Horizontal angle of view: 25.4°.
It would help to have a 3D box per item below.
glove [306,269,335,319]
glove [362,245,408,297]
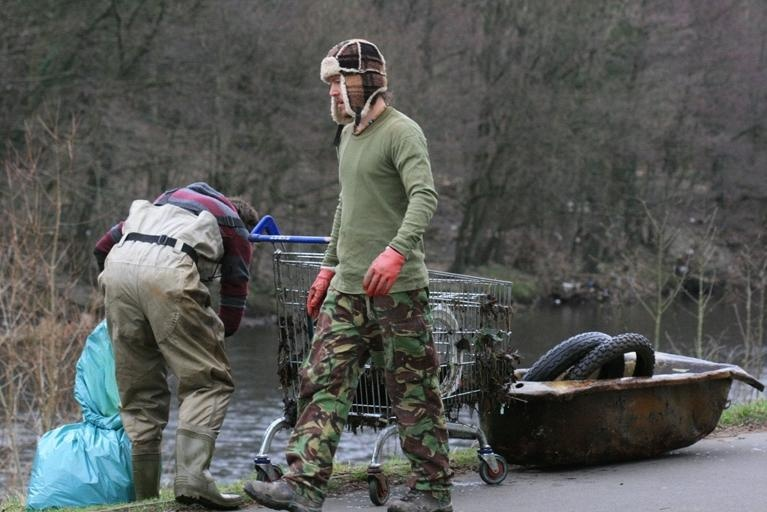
[{"bbox_3d":[-0.899,0.466,23.583,0.148,0.586,0.436,19,-18,-8],"label":"glove"},{"bbox_3d":[-0.002,0.175,22.988,0.537,0.658,0.084,1,-5,6],"label":"glove"}]
